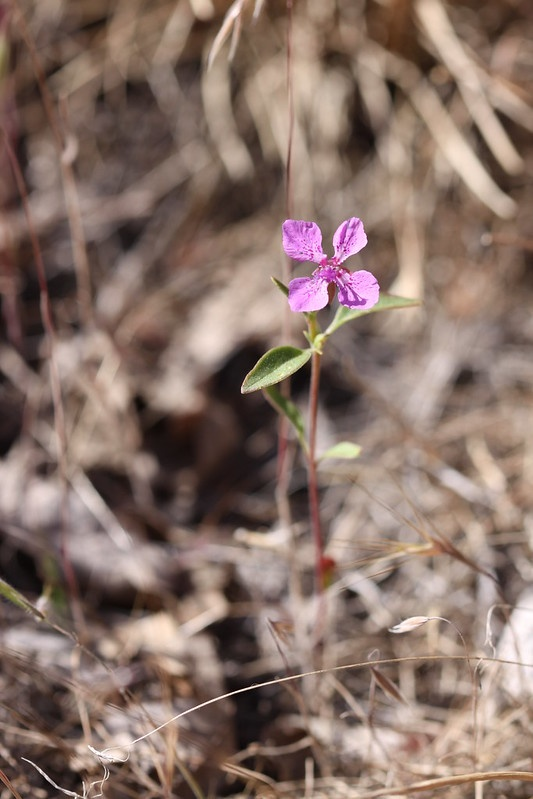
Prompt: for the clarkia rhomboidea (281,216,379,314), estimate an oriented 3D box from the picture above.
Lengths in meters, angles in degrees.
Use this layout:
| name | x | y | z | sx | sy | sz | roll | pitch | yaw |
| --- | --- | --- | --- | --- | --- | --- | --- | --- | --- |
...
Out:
| name | x | y | z | sx | sy | sz | roll | pitch | yaw |
| --- | --- | --- | --- | --- | --- | --- | --- | --- | --- |
| clarkia rhomboidea | 0.138 | -0.283 | 1.865 | 0.189 | 0.197 | 0.201 | -4 | 58 | 0 |
